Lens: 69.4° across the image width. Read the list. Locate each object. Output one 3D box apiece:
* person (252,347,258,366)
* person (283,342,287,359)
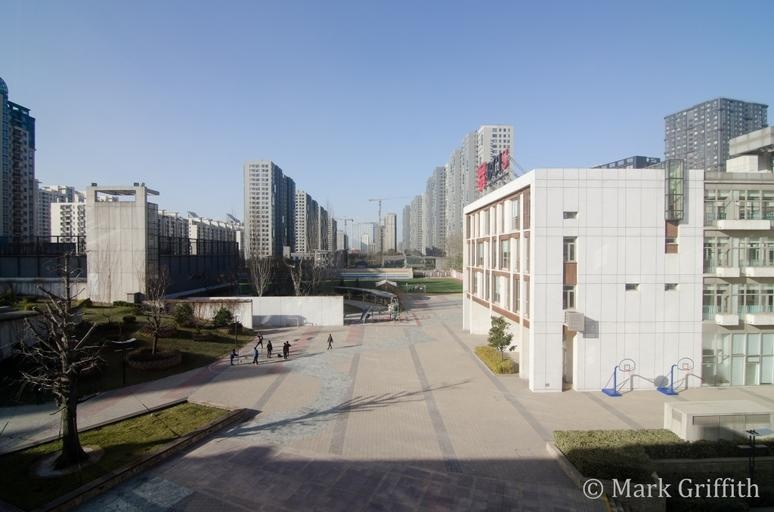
[{"bbox_3d":[-11.626,9.000,49.527,0.460,1.440,1.171,-3,-15,10],"label":"person"},{"bbox_3d":[-9.062,8.611,50.521,0.415,1.216,0.889,1,7,-11],"label":"person"}]
